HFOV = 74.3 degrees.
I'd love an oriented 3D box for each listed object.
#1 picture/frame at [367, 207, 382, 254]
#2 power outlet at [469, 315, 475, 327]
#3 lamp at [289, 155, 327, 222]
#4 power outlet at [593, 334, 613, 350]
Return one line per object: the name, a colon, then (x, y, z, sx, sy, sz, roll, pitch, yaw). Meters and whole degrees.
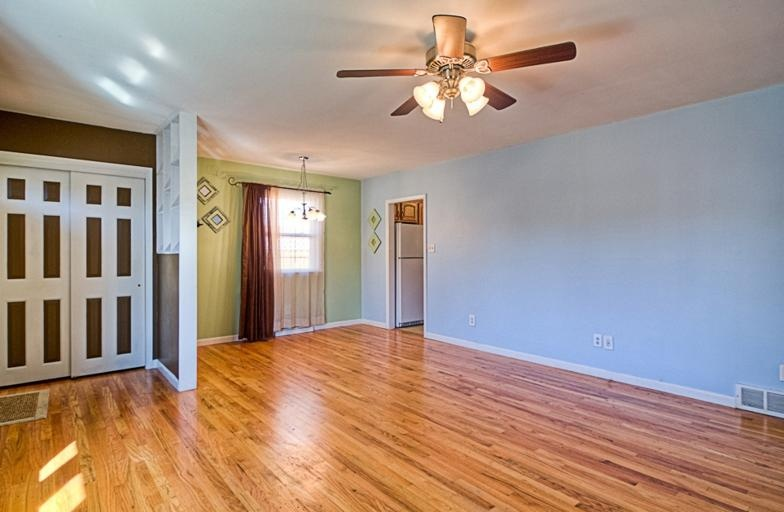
picture/frame: (-0.293, -0.436, 8.996, 0.051, 0.772, 0.370, -3, 3, -36)
power outlet: (1.151, 0.914, 7.436, 0.007, 0.179, 0.124, -4, 3, -43)
lamp: (-1.431, -1.116, 8.428, 0.706, 1.017, 0.683, 8, 12, 36)
power outlet: (2.553, 1.031, 6.247, 0.023, 0.145, 0.202, 2, -2, -44)
